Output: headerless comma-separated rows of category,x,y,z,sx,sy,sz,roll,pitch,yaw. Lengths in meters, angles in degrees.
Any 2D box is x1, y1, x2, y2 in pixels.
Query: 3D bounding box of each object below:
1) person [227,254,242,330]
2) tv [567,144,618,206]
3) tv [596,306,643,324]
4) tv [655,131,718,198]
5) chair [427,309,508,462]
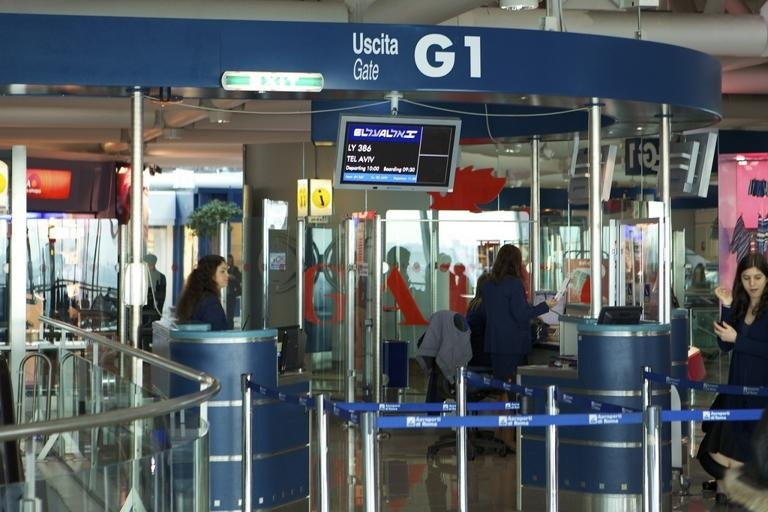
person,-2.059,0.470,13.411,0.190,0.999,0.481,-1,1,-13
tv,2.400,-0.937,11.062,0.149,0.650,0.648,5,-4,-24
tv,2.264,0.559,9.291,0.430,0.163,0.153,-1,1,1
tv,3.555,-1.075,11.184,0.497,0.759,0.352,0,1,21
chair,0.816,1.457,10.473,0.876,1.505,0.960,-4,12,21
